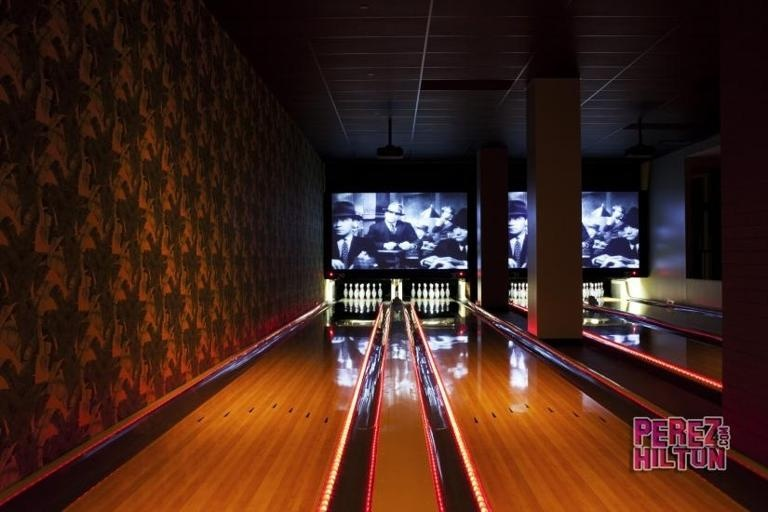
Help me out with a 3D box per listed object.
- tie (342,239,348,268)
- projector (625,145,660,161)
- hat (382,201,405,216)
[{"bbox_3d":[-0.711,-0.095,9.212,0.134,0.424,0.099,-2,11,-6],"label":"tie"},{"bbox_3d":[3.484,-1.460,6.786,0.329,0.176,0.468,4,11,25],"label":"projector"},{"bbox_3d":[0.212,-0.900,9.212,0.252,0.114,0.284,18,13,-9],"label":"hat"}]
